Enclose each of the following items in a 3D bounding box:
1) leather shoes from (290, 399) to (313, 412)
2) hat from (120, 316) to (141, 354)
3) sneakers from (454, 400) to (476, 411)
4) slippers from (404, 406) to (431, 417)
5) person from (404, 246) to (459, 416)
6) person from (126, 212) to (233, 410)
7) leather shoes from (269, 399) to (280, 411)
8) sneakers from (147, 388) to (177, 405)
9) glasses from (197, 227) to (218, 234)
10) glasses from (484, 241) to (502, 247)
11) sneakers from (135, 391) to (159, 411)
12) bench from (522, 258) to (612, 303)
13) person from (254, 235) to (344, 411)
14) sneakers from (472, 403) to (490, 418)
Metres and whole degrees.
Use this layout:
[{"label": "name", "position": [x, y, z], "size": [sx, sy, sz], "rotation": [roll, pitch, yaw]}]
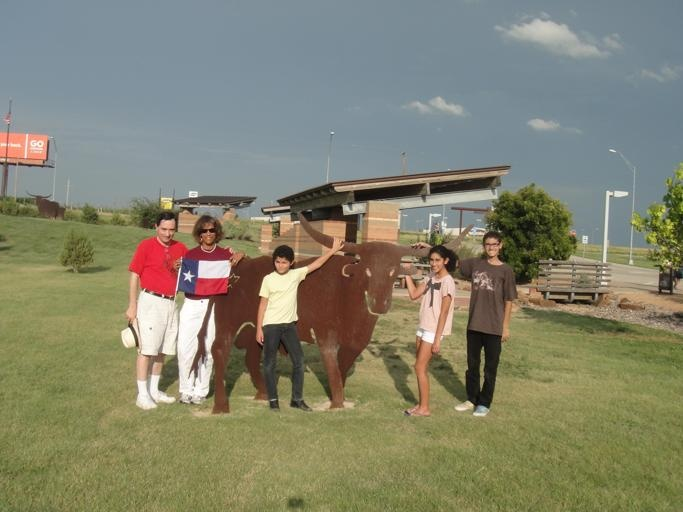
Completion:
[{"label": "leather shoes", "position": [-0.631, 2.005, 6.592], "size": [0.328, 0.169, 0.119], "rotation": [1, 2, 14]}, {"label": "hat", "position": [-2.930, 1.033, 6.357], "size": [0.174, 0.399, 0.392], "rotation": [-2, 7, -45]}, {"label": "sneakers", "position": [1.751, 2.142, 6.994], "size": [0.289, 0.147, 0.123], "rotation": [7, -8, -27]}, {"label": "slippers", "position": [0.979, 2.118, 6.572], "size": [0.221, 0.101, 0.153], "rotation": [15, -14, -34]}, {"label": "person", "position": [1.197, 1.008, 6.762], "size": [0.619, 2.343, 0.811], "rotation": [4, 5, 11]}, {"label": "person", "position": [-2.339, 0.692, 6.567], "size": [1.273, 2.558, 0.613], "rotation": [1, 5, -23]}, {"label": "leather shoes", "position": [-0.981, 1.965, 6.479], "size": [0.139, 0.146, 0.174], "rotation": [1, 6, -22]}, {"label": "sneakers", "position": [-2.570, 1.905, 6.583], "size": [0.353, 0.174, 0.137], "rotation": [0, 3, 2]}, {"label": "glasses", "position": [-1.916, -0.350, 6.507], "size": [0.227, 0.085, 0.108], "rotation": [2, 5, -12]}, {"label": "glasses", "position": [2.180, -0.168, 6.966], "size": [0.269, 0.104, 0.145], "rotation": [3, 5, -10]}, {"label": "sneakers", "position": [-2.659, 1.874, 6.274], "size": [0.130, 0.165, 0.355], "rotation": [0, -4, -38]}, {"label": "bench", "position": [8.675, 0.903, 18.033], "size": [2.929, 1.566, 0.921], "rotation": [2, 5, -14]}, {"label": "person", "position": [-0.784, 0.948, 6.614], "size": [0.922, 2.181, 0.508], "rotation": [2, 5, -12]}, {"label": "sneakers", "position": [1.941, 2.123, 6.714], "size": [0.288, 0.129, 0.175], "rotation": [3, 5, -10]}]
